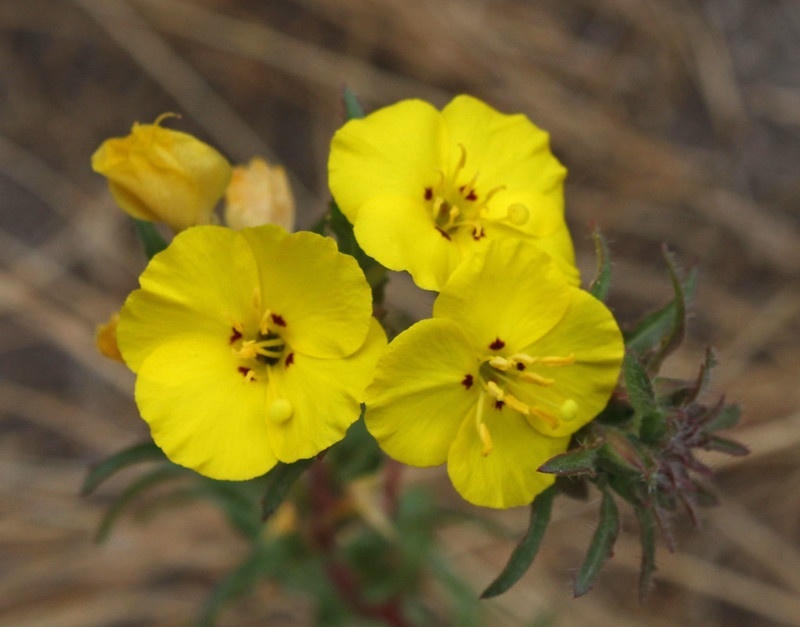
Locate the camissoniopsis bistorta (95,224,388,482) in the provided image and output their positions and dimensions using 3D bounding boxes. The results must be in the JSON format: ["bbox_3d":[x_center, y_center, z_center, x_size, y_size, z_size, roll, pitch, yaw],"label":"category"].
[{"bbox_3d":[-0.271,0.059,1.929,0.471,0.464,0.207,-14,-18,-9],"label":"camissoniopsis bistorta"}]

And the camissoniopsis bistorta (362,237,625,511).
[{"bbox_3d":[0.161,0.099,1.969,0.600,0.465,0.205,-7,24,-15],"label":"camissoniopsis bistorta"}]
